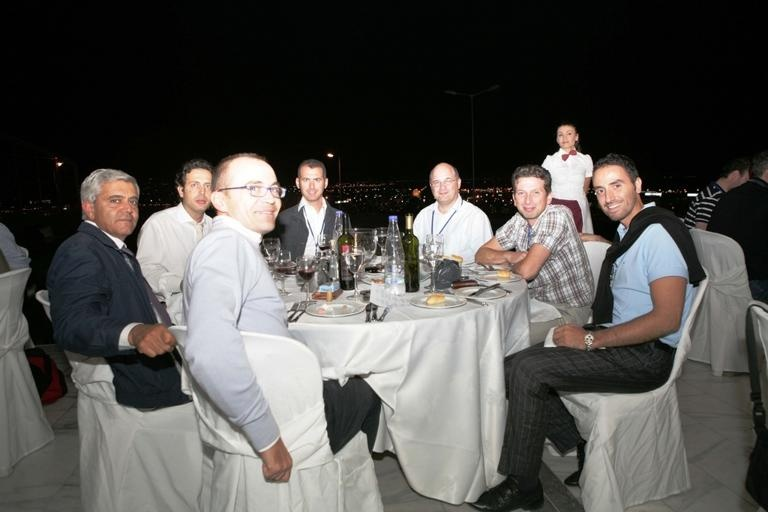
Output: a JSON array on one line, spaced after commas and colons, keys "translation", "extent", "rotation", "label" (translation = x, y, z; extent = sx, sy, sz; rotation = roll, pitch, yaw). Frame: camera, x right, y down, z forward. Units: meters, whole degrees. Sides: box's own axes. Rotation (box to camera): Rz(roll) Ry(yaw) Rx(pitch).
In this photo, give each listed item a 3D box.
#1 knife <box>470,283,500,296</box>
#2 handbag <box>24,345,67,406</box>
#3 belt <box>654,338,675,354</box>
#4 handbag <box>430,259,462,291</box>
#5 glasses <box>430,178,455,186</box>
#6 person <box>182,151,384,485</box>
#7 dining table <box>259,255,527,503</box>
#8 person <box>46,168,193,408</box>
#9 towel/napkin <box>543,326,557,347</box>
[{"translation": [0.612, 0.199, 2.757], "extent": [0.062, 0.018, 0.398], "rotation": [26, 17, 28], "label": "knife"}, {"translation": [-2.674, 1.071, 3.690], "extent": [0.110, 0.221, 0.315], "rotation": [38, -38, 8], "label": "handbag"}, {"translation": [1.587, 0.509, 2.608], "extent": [0.091, 0.066, 0.086], "rotation": [17, -9, -42], "label": "belt"}, {"translation": [0.390, 0.115, 2.834], "extent": [0.155, 0.200, 0.078], "rotation": [18, -17, -10], "label": "handbag"}, {"translation": [0.541, -0.671, 4.116], "extent": [0.201, 0.071, 0.060], "rotation": [-1, 4, 1], "label": "glasses"}, {"translation": [-0.533, 0.430, 2.349], "extent": [1.054, 1.715, 0.918], "rotation": [3, -5, -39], "label": "person"}, {"translation": [0.067, 0.784, 2.879], "extent": [1.140, 0.663, 1.112], "rotation": [-2, -1, -25], "label": "dining table"}, {"translation": [-1.372, 0.164, 2.369], "extent": [0.554, 1.291, 0.947], "rotation": [-5, 6, -37], "label": "person"}, {"translation": [1.036, 0.503, 2.867], "extent": [0.034, 0.103, 0.113], "rotation": [23, 4, 10], "label": "towel/napkin"}]
